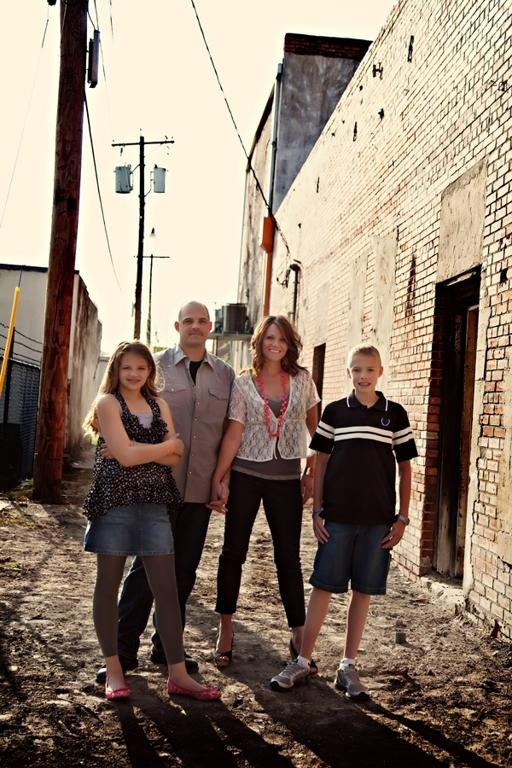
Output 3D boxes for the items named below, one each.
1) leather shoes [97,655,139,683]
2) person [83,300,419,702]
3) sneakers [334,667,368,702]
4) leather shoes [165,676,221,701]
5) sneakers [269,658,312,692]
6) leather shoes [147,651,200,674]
[{"bbox_3d":[-0.598,1.247,2.574,0.071,0.113,0.241,-7,-13,26],"label":"leather shoes"},{"bbox_3d":[-0.145,0.492,2.924,0.958,1.780,0.313,5,-6,-15],"label":"person"},{"bbox_3d":[0.425,1.322,2.537,0.061,0.097,0.181,3,-16,-12],"label":"sneakers"},{"bbox_3d":[-0.249,1.258,2.348,0.213,0.114,0.092,2,-6,-2],"label":"leather shoes"},{"bbox_3d":[0.162,1.313,2.635,0.076,0.118,0.227,-1,-10,37],"label":"sneakers"},{"bbox_3d":[-0.396,1.320,2.768,0.288,0.072,0.135,2,-7,23],"label":"leather shoes"}]
